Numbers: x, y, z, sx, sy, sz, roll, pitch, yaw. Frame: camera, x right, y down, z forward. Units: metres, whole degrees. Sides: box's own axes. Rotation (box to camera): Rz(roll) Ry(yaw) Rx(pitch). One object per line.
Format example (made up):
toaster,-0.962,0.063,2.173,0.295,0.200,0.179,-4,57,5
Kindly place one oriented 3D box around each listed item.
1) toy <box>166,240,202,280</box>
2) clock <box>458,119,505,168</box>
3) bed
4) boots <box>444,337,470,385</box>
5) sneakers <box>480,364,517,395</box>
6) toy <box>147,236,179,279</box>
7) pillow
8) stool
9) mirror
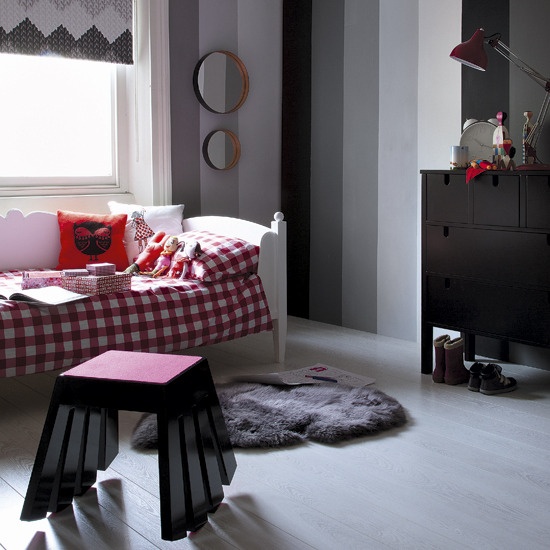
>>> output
toy,-0.459,-0.078,2.395,0.137,0.182,0.236,-2,4,-25
clock,0.994,-0.623,2.314,0.238,0.210,0.056,4,5,32
bed,-0.693,0.052,2.543,1.223,0.684,0.917,-5,8,-31
boots,0.855,0.403,2.225,0.224,0.202,0.101,4,-3,-38
sneakers,0.973,0.453,2.081,0.210,0.112,0.083,-3,3,-40
toy,-0.567,-0.094,2.529,0.100,0.267,0.110,21,4,25
pillow,-0.525,-0.146,2.535,0.724,0.271,0.562,2,5,39
stool,-0.332,0.346,1.221,0.425,0.344,0.410,1,2,17
mirror,-0.364,-1.149,3.295,0.436,0.822,0.122,-2,4,-31
